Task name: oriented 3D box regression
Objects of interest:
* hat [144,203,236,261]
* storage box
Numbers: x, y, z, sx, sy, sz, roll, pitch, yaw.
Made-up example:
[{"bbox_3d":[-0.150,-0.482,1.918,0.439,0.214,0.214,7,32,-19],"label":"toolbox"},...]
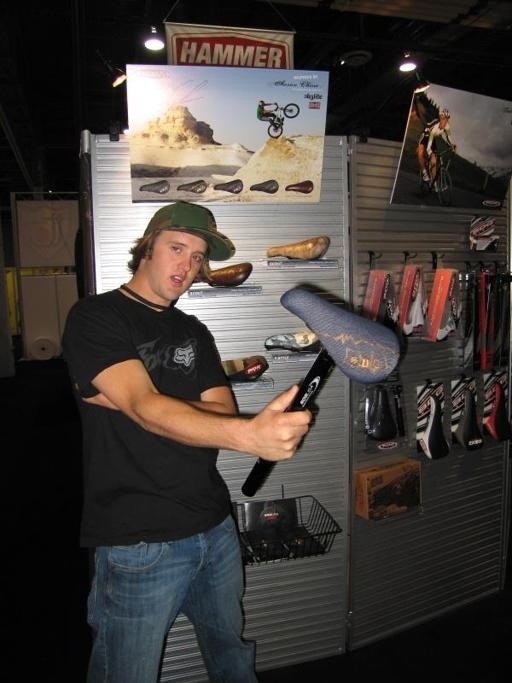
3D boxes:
[{"bbox_3d":[-0.216,-0.351,1.788,0.275,0.130,0.196,1,2,10],"label":"hat"},{"bbox_3d":[0.576,0.631,2.382,0.312,0.195,0.091,-8,7,-28],"label":"storage box"}]
